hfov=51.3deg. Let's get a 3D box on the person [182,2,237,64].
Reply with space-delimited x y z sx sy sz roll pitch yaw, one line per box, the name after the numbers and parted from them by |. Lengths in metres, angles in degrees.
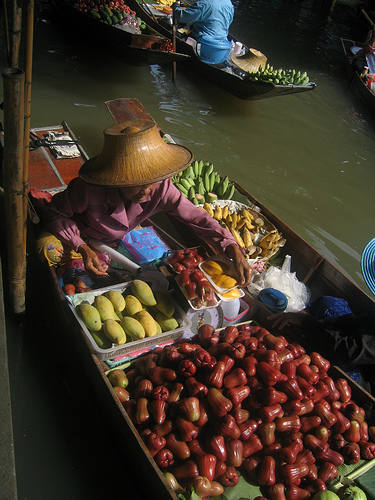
0.431 -4.436 7.959 1.038 1.089 0.589 13 36 -7 | person
